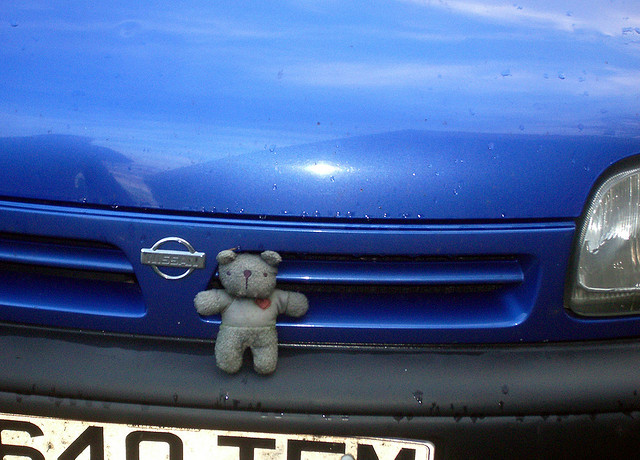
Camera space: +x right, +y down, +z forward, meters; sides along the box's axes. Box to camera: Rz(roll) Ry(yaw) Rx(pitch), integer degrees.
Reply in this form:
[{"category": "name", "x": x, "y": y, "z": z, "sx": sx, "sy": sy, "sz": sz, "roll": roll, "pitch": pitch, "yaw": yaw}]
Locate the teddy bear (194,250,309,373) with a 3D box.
[{"category": "teddy bear", "x": -0.188, "y": 0.218, "z": 2.476, "sx": 0.295, "sy": 0.334, "sz": 0.081, "roll": 1, "pitch": 3, "yaw": -3}]
